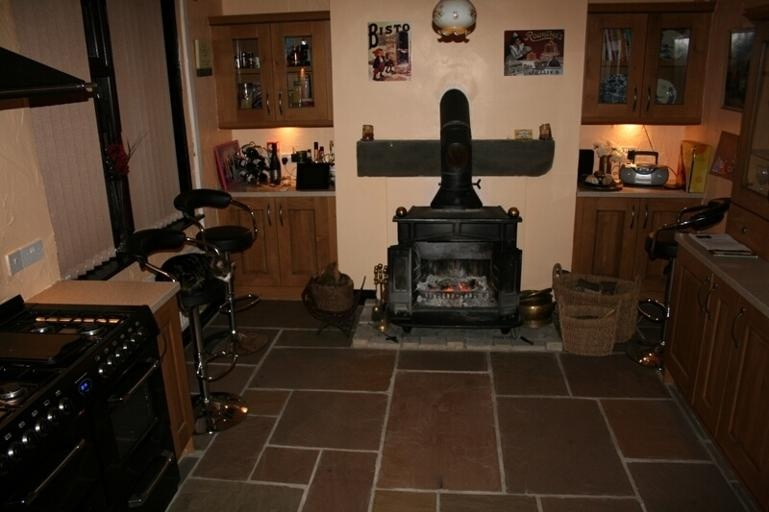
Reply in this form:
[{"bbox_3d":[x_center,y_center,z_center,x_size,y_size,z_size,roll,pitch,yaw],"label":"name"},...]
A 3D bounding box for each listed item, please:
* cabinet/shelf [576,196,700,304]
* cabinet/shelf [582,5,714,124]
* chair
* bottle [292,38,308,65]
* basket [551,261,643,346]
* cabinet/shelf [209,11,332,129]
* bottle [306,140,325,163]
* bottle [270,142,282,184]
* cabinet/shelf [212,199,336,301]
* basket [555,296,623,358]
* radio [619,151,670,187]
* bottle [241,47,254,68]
[{"bbox_3d":[2.284,-0.092,5.055,0.976,0.891,0.408,1,14,7],"label":"cabinet/shelf"},{"bbox_3d":[2.556,-1.884,5.364,1.042,0.961,0.434,1,16,4],"label":"cabinet/shelf"},{"bbox_3d":[-1.425,0.422,4.186,0.893,1.933,1.070,10,30,6],"label":"chair"},{"bbox_3d":[-0.837,-2.021,5.555,0.156,0.246,0.052,-4,19,-10],"label":"bottle"},{"bbox_3d":[1.875,0.359,5.077,0.837,0.788,0.620,8,20,27],"label":"basket"},{"bbox_3d":[-1.094,-1.847,5.817,1.272,1.056,0.466,3,18,14],"label":"cabinet/shelf"},{"bbox_3d":[-0.737,-1.119,5.998,0.188,0.202,0.163,-1,19,1],"label":"bottle"},{"bbox_3d":[-1.180,-0.984,5.932,0.111,0.393,0.391,-5,19,-12],"label":"bottle"},{"bbox_3d":[-1.020,-0.147,5.983,1.286,1.154,0.695,1,10,19],"label":"cabinet/shelf"},{"bbox_3d":[1.784,0.585,4.943,0.514,0.496,0.398,4,16,16],"label":"basket"},{"bbox_3d":[2.630,-0.879,5.686,0.472,0.368,0.251,5,5,20],"label":"radio"},{"bbox_3d":[-1.386,-1.977,5.581,0.149,0.164,0.147,0,13,-8],"label":"bottle"}]
